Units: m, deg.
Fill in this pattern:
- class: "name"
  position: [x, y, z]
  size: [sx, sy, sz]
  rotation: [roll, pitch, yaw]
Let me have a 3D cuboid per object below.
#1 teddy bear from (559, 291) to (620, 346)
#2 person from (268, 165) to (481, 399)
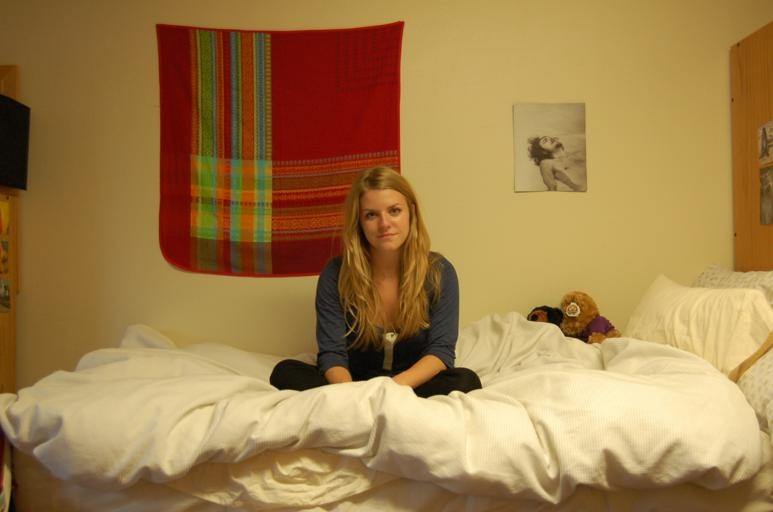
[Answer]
- class: "teddy bear"
  position: [1.168, 0.388, 3.558]
  size: [0.312, 0.236, 0.242]
  rotation: [20, -23, -25]
- class: "person"
  position: [-0.082, 0.205, 3.149]
  size: [0.949, 1.264, 0.787]
  rotation: [-1, 1, -4]
